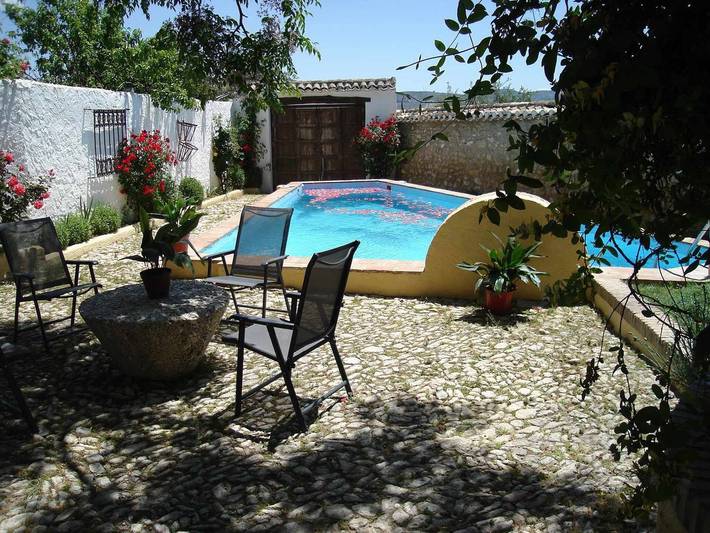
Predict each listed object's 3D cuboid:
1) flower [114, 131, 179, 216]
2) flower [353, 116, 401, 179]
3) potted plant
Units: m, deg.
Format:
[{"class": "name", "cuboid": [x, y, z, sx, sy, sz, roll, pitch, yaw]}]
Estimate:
[{"class": "flower", "cuboid": [-4.676, -2.066, 9.026, 1.213, 1.872, 0.868, -12, 19, -36]}, {"class": "flower", "cuboid": [0.948, -4.634, 15.989, 1.568, 2.210, 0.684, 0, 15, 4]}, {"class": "potted plant", "cuboid": [1.770, 0.087, 4.722, 1.180, 0.728, 1.099, 2, 5, 4]}]
